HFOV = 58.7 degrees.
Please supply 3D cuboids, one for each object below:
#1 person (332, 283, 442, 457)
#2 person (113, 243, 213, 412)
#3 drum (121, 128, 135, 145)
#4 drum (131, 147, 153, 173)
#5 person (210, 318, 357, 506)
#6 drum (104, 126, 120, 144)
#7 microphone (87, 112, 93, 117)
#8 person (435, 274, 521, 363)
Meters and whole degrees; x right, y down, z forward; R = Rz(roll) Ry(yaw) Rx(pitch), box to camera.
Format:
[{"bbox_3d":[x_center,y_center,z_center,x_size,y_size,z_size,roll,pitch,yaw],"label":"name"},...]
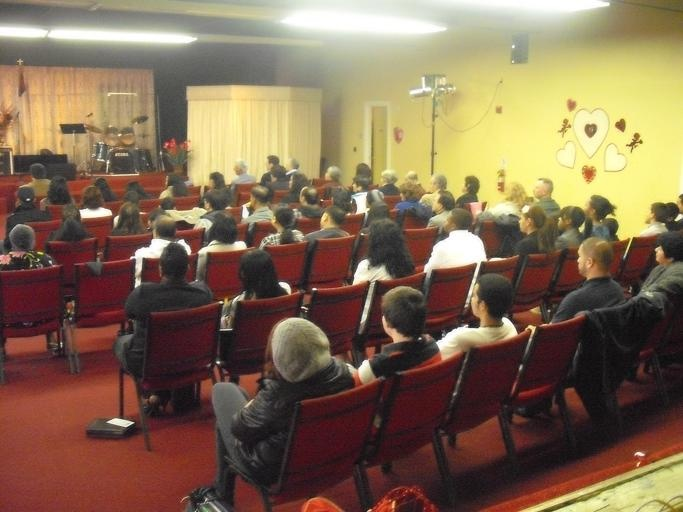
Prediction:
[{"bbox_3d":[0.366,0.658,3.764,0.642,1.022,0.635,13,26,40],"label":"person"},{"bbox_3d":[-1.323,0.561,4.574,0.761,1.300,0.714,2,3,-16],"label":"person"},{"bbox_3d":[-5.815,-3.233,16.435,0.379,0.523,0.578,-5,12,-16],"label":"drum"},{"bbox_3d":[-5.411,-2.622,16.551,0.446,0.693,0.718,-4,18,-16],"label":"drum"},{"bbox_3d":[-0.376,0.876,3.249,0.810,1.133,0.452,3,13,25],"label":"person"},{"bbox_3d":[-6.140,-3.214,16.203,0.378,0.501,0.450,-6,12,-21],"label":"drum"},{"bbox_3d":[-6.931,-3.884,16.709,0.223,0.060,0.061,-26,32,19],"label":"microphone"},{"bbox_3d":[0.919,0.383,3.931,0.755,0.531,0.322,-6,17,-30],"label":"person"}]
